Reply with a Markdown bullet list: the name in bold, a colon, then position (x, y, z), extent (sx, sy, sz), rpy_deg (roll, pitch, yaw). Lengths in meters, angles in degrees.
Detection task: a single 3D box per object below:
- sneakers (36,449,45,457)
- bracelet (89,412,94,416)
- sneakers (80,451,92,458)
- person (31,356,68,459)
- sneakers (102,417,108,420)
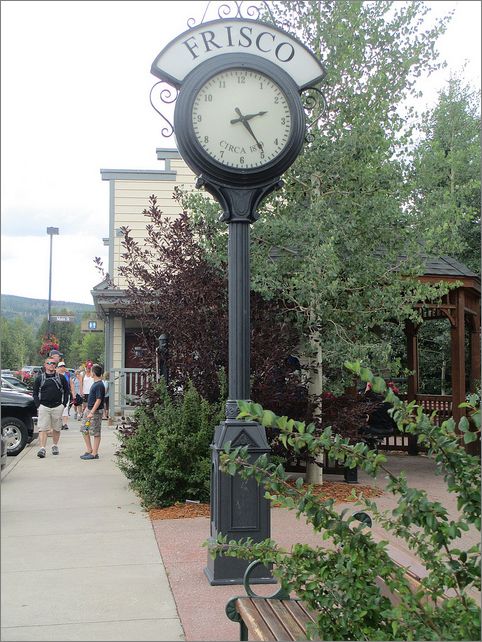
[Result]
- **sneakers**: position (-3.286, 2.188, 11.005), extent (0.101, 0.110, 0.252), rpy_deg (2, -30, 0)
- **bracelet**: position (-2.372, 1.484, 10.610), extent (0.054, 0.077, 0.052), rpy_deg (3, -9, -11)
- **sneakers**: position (-2.599, 2.257, 11.270), extent (0.177, 0.106, 0.275), rpy_deg (-1, -11, -6)
- **person**: position (-3.271, 1.471, 11.392), extent (0.476, 1.680, 0.891), rpy_deg (1, -5, -5)
- **sneakers**: position (-3.940, 2.840, 19.474), extent (0.112, 0.121, 0.306), rpy_deg (2, -11, -14)
